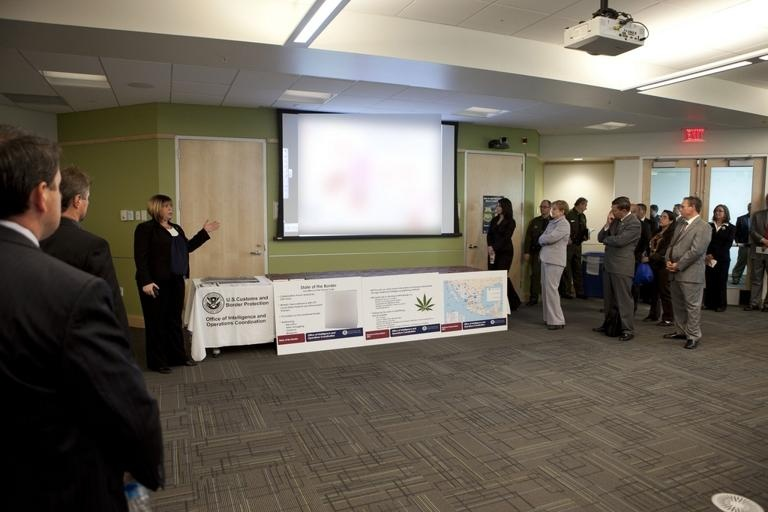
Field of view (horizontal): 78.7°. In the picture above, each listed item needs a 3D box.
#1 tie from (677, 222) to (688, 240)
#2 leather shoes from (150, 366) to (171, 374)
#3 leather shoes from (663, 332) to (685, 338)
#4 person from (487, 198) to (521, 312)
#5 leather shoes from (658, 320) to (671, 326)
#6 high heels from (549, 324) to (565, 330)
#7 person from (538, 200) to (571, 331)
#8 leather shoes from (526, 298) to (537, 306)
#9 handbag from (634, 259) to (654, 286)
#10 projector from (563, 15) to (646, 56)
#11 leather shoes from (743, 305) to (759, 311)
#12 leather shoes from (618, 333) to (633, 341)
[{"bbox_3d":[4.241,-0.379,6.662,0.056,0.196,0.147,18,-1,-12],"label":"tie"},{"bbox_3d":[-2.550,1.306,5.385,0.241,0.093,0.081,1,1,-3],"label":"leather shoes"},{"bbox_3d":[4.162,1.137,6.780,0.279,0.107,0.103,4,1,16],"label":"leather shoes"},{"bbox_3d":[2.205,-0.041,8.692,0.611,2.067,0.977,2,8,13],"label":"person"},{"bbox_3d":[4.530,1.073,7.582,0.152,0.057,0.084,0,4,5],"label":"leather shoes"},{"bbox_3d":[2.649,1.099,7.279,0.249,0.095,0.083,4,-2,1],"label":"high heels"},{"bbox_3d":[2.656,0.125,7.370,0.445,1.982,0.558,3,9,21],"label":"person"},{"bbox_3d":[2.973,0.906,9.434,0.205,0.120,0.348,3,9,18],"label":"leather shoes"},{"bbox_3d":[4.412,0.256,7.981,0.239,0.446,0.458,3,3,-8],"label":"handbag"},{"bbox_3d":[2.297,-2.301,4.864,0.726,0.277,0.427,-2,8,-17],"label":"projector"},{"bbox_3d":[6.949,0.976,8.941,0.293,0.120,0.116,1,2,-5],"label":"leather shoes"},{"bbox_3d":[3.437,1.145,6.676,0.082,0.079,0.209,-8,-10,41],"label":"leather shoes"}]
